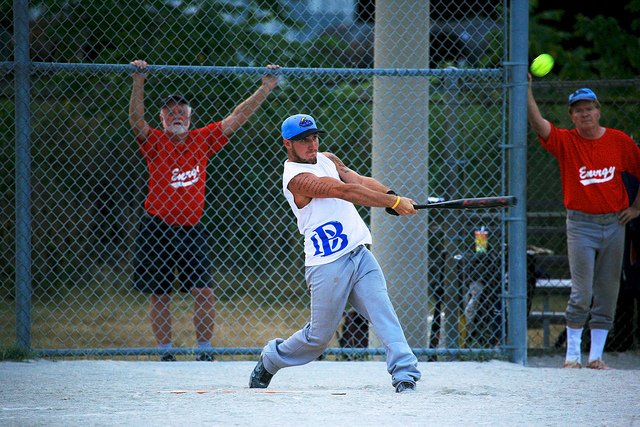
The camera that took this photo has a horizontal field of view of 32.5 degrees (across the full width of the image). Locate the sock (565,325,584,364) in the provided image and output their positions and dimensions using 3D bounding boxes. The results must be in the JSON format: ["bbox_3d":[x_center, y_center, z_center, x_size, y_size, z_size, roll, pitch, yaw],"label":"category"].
[{"bbox_3d":[2.711,1.414,11.837,0.172,0.387,0.145,-1,-1,8],"label":"sock"}]

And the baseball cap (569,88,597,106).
[{"bbox_3d":[2.825,-1.252,11.911,0.247,0.155,0.376,-4,2,15],"label":"baseball cap"}]

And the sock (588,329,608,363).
[{"bbox_3d":[2.966,1.423,11.789,0.198,0.345,0.191,-1,-1,14],"label":"sock"}]

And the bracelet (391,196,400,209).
[{"bbox_3d":[0.742,-0.102,10.812,0.022,0.096,0.094,24,-37,2],"label":"bracelet"}]

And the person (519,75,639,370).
[{"bbox_3d":[2.851,0.160,11.821,1.132,2.977,0.418,-1,-1,9],"label":"person"}]

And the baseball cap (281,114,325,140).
[{"bbox_3d":[-0.170,-0.857,10.956,0.396,0.215,0.299,-8,-8,14],"label":"baseball cap"}]

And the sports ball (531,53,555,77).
[{"bbox_3d":[2.371,-1.574,11.805,0.221,0.250,0.290,4,4,11],"label":"sports ball"}]

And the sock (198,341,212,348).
[{"bbox_3d":[-1.253,1.424,11.902,0.148,0.067,0.102,0,-1,-8],"label":"sock"}]

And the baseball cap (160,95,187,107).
[{"bbox_3d":[-1.657,-1.246,12.152,0.247,0.121,0.410,0,-1,-32],"label":"baseball cap"}]
